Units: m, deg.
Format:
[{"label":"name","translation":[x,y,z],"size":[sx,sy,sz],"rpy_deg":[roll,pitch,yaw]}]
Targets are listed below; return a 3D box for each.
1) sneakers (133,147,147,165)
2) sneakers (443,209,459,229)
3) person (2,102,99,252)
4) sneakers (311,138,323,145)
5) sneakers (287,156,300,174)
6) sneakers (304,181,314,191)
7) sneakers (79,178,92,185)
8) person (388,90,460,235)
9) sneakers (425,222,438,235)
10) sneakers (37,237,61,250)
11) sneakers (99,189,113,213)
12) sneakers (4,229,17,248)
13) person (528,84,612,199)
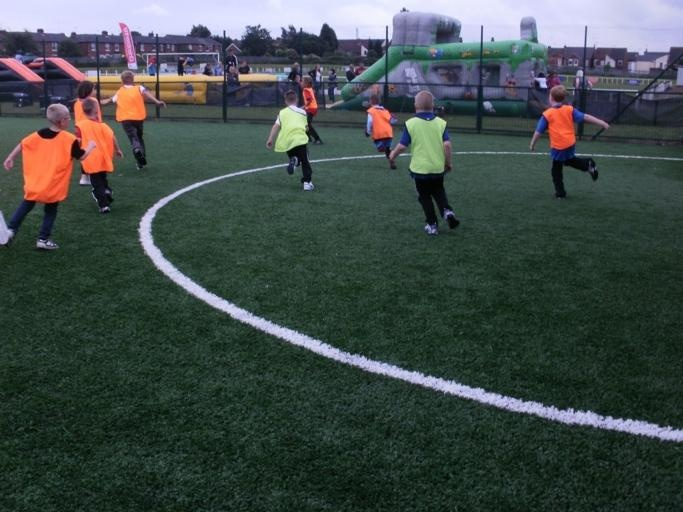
[{"label":"sneakers","translation":[-3.673,-1.800,11.565],"size":[0.135,0.154,0.359],"rpy_deg":[-28,-10,-17]},{"label":"sneakers","translation":[1.250,-0.419,7.247],"size":[0.135,0.215,0.168],"rpy_deg":[-4,20,-10]},{"label":"person","translation":[-3.076,-0.830,6.671],"size":[0.925,1.410,0.593],"rpy_deg":[-8,21,-22]},{"label":"sneakers","translation":[-0.620,-2.988,16.583],"size":[0.143,0.176,0.422],"rpy_deg":[-8,23,-23]},{"label":"sneakers","translation":[-0.805,-1.396,10.127],"size":[0.141,0.372,0.153],"rpy_deg":[32,56,2]},{"label":"sneakers","translation":[-0.511,-1.100,9.971],"size":[0.081,0.093,0.224],"rpy_deg":[3,12,14]},{"label":"sneakers","translation":[-3.971,-1.164,9.852],"size":[0.221,0.101,0.305],"rpy_deg":[2,13,-22]},{"label":"person","translation":[1.036,-1.076,7.374],"size":[0.859,1.583,0.437],"rpy_deg":[12,23,31]},{"label":"sneakers","translation":[1.059,-0.329,7.441],"size":[0.115,0.132,0.317],"rpy_deg":[1,7,4]},{"label":"sneakers","translation":[-3.087,-0.135,6.689],"size":[0.245,0.108,0.096],"rpy_deg":[-4,12,-32]},{"label":"sneakers","translation":[-3.119,-0.719,8.362],"size":[0.106,0.316,0.136],"rpy_deg":[-13,31,2]},{"label":"sneakers","translation":[-3.395,-0.193,6.497],"size":[0.082,0.267,0.099],"rpy_deg":[-1,16,-19]},{"label":"person","translation":[3.422,-1.728,9.659],"size":[0.925,1.642,1.136],"rpy_deg":[7,21,20]}]
